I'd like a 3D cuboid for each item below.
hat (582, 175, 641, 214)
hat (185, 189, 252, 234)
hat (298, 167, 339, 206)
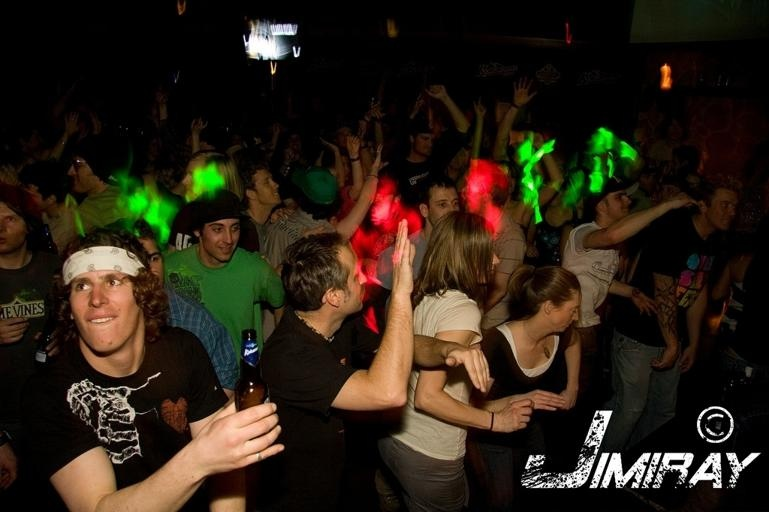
[{"bbox_3d":[2.480,-0.604,6.431,0.679,0.258,0.389,-23,7,23],"label":"hat"},{"bbox_3d":[-1.492,-0.396,5.111,0.466,0.196,0.335,-11,2,22],"label":"hat"},{"bbox_3d":[-0.792,-0.828,6.678,0.429,0.433,0.380,2,9,1],"label":"hat"}]
